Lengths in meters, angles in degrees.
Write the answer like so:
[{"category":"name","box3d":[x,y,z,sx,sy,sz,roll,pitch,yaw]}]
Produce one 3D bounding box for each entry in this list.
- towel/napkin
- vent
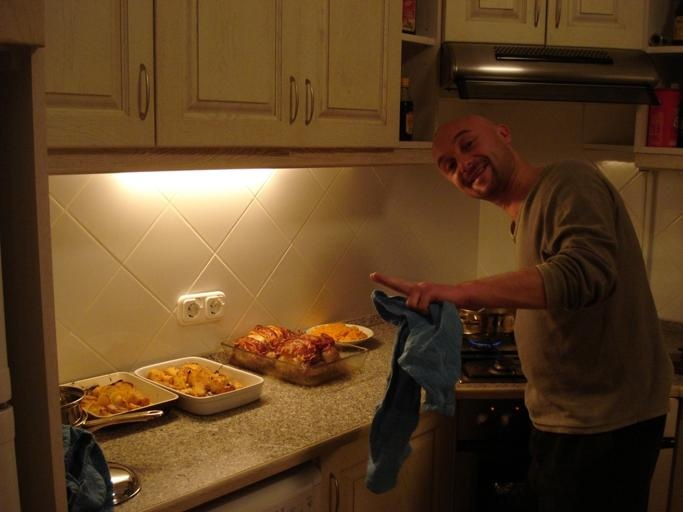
[{"category":"towel/napkin","box3d":[0.176,0.366,1.464,0.205,0.558,0.373,-2,6,-7]},{"category":"vent","box3d":[0.785,-0.690,2.215,0.807,0.252,0.192,-2,6,-7]}]
